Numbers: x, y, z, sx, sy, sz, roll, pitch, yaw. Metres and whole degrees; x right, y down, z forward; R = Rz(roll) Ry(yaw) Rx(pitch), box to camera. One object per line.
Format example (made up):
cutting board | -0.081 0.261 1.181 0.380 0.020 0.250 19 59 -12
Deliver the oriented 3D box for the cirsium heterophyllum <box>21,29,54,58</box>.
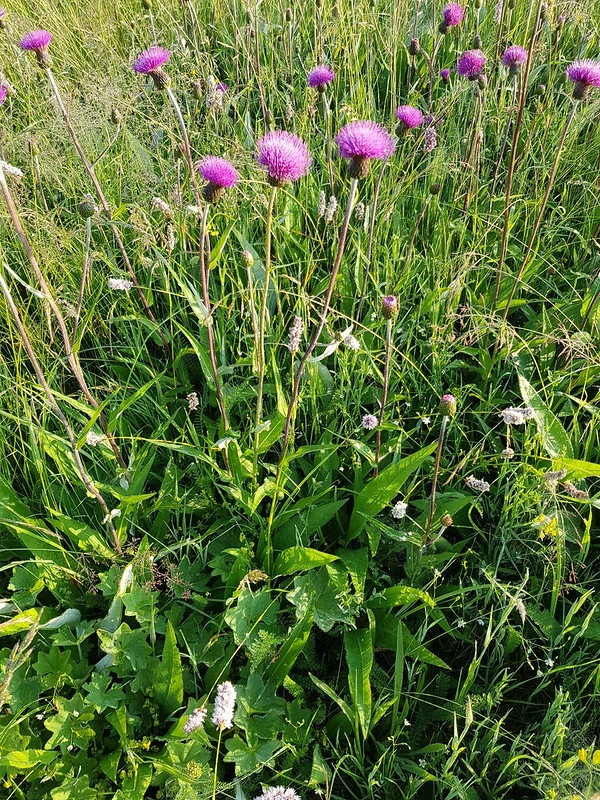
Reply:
cirsium heterophyllum | -0.701 -0.948 1.706 0.082 0.052 0.104 -17 38 2
